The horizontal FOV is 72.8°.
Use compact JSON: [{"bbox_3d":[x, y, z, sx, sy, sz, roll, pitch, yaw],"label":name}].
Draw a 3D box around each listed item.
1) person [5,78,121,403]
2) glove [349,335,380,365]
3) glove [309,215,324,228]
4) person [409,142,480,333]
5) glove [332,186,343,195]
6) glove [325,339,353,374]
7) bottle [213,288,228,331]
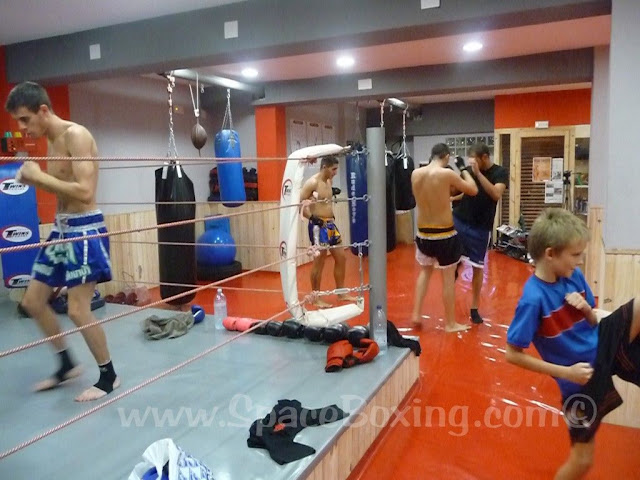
[{"bbox_3d":[-1.566,0.033,2.642,0.560,1.952,0.692,-12,15,-35],"label":"person"},{"bbox_3d":[0.302,0.754,3.001,0.151,0.068,0.145,-19,21,-3],"label":"glove"},{"bbox_3d":[-0.047,-0.210,4.733,0.115,0.057,0.095,-5,15,-16],"label":"glove"},{"bbox_3d":[1.185,-0.014,4.220,0.578,1.787,0.415,1,13,20],"label":"person"},{"bbox_3d":[0.210,-0.662,5.843,0.119,0.087,0.175,0,-14,2],"label":"glove"},{"bbox_3d":[0.127,0.791,2.983,0.191,0.130,0.211,-3,13,3],"label":"glove"},{"bbox_3d":[-0.924,0.549,3.953,0.127,0.342,0.515,-7,14,-15],"label":"bottle"}]
